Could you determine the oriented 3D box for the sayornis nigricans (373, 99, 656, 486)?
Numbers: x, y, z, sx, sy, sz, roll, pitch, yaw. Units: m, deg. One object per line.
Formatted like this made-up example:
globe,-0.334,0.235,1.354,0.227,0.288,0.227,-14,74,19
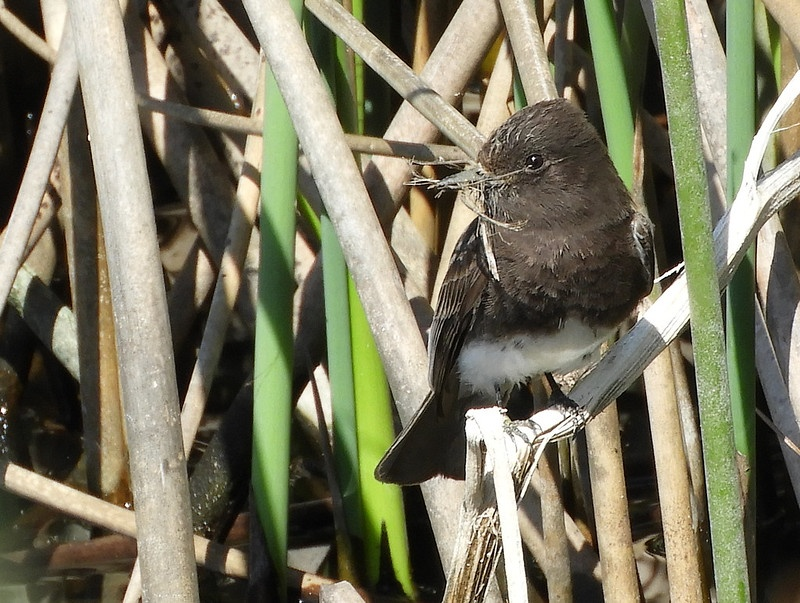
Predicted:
sayornis nigricans,0.343,0.055,3.401,0.605,1.215,1.027,6,-16,-33
